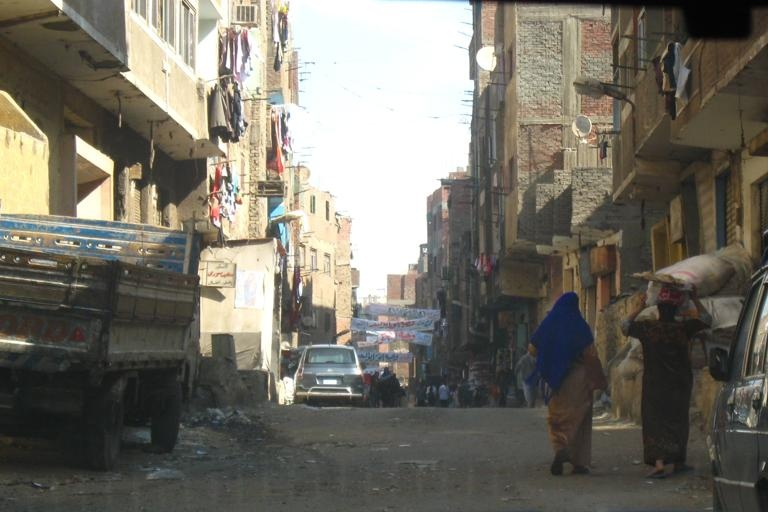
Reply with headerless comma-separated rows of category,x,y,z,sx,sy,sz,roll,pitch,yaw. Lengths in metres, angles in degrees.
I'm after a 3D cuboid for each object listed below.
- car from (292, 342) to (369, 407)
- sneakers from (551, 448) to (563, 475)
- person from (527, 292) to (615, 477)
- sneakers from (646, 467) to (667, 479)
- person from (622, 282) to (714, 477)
car,-1.293,2.865,36.732,1.674,1.516,0.980,2,-11,-6
sneakers,2.551,3.015,21.804,0.202,0.372,0.256,0,-11,0
person,2.736,1.877,22.044,1.001,2.674,0.295,-1,-11,7
sneakers,3.946,3.093,21.303,0.358,0.153,0.198,6,-13,-24
person,4.084,1.783,21.634,1.135,2.789,0.453,-1,-11,10
